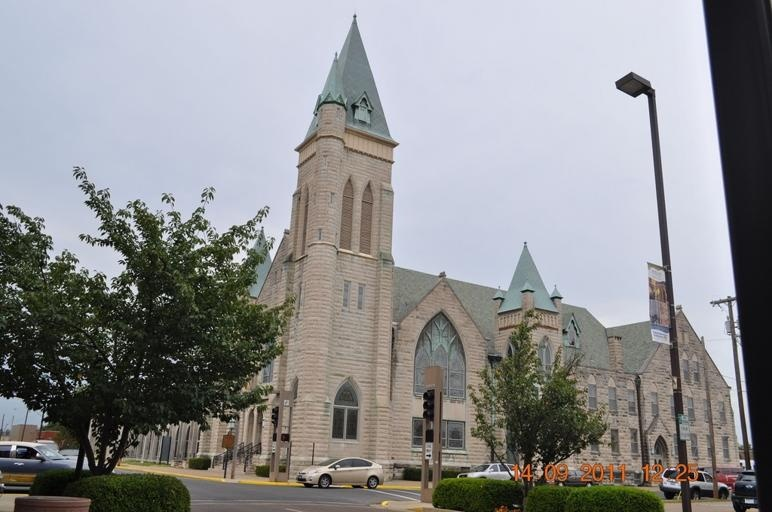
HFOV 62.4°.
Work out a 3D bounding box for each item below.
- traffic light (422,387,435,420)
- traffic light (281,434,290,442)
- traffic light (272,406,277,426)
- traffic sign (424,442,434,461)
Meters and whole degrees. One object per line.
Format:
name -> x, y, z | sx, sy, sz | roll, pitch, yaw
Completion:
traffic light -> 1.662, 5.702, 24.520 | 0.388, 1.151, 0.365 | -2, -23, 8
traffic light -> -5.789, 10.418, 36.527 | 0.451, 0.437, 1.357 | 4, -24, -6
traffic light -> -6.198, 8.989, 35.564 | 0.305, 0.948, 0.784 | 8, -24, -14
traffic sign -> 1.676, 7.611, 24.816 | 0.112, 1.099, 0.785 | 3, -7, -19
